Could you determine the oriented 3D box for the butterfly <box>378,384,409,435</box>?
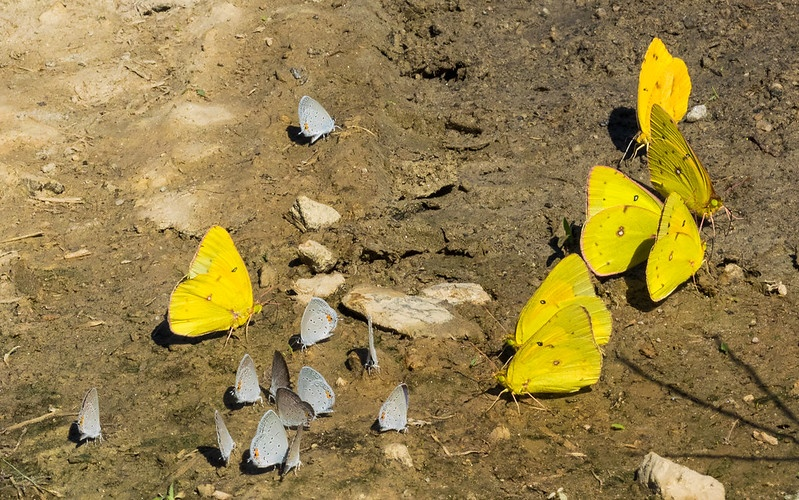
[{"bbox_3d":[-0.087,2.585,14.482,0.373,0.718,0.391,7,80,11],"label":"butterfly"}]
